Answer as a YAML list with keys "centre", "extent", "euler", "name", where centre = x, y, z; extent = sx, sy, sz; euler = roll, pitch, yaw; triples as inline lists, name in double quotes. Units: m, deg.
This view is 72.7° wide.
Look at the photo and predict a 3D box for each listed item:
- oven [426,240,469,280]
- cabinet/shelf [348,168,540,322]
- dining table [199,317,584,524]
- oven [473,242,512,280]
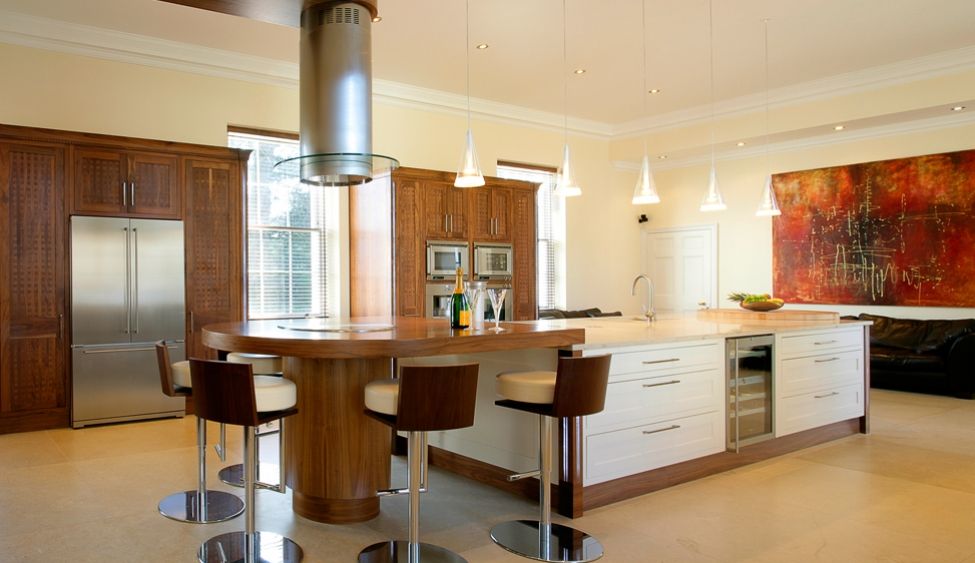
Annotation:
- centre: [-0.584, -0.309, 9.126]
  extent: [0.687, 0.508, 0.351]
  euler: [1, -4, -28]
  name: "oven"
- centre: [-0.705, -0.493, 9.002]
  extent: [2.574, 2.140, 0.949]
  euler: [0, -3, -28]
  name: "cabinet/shelf"
- centre: [-1.240, 1.057, 5.715]
  extent: [2.160, 1.221, 2.475]
  euler: [2, 1, 43]
  name: "dining table"
- centre: [0.176, -0.315, 9.846]
  extent: [0.710, 0.522, 0.385]
  euler: [2, 6, 32]
  name: "oven"
